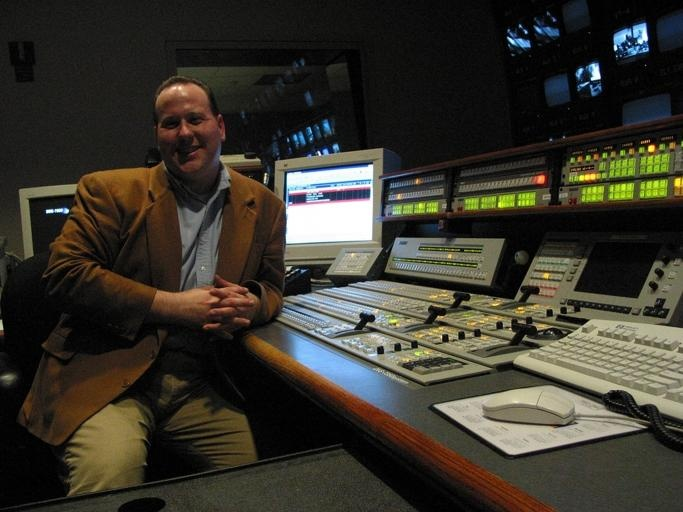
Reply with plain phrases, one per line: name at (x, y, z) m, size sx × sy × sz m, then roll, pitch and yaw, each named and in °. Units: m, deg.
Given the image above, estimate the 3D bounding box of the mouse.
mouse at (0.328, 0.254, 0.775) m, size 0.130 × 0.032 × 0.067 m, roll 1°, pitch 3°, yaw 26°

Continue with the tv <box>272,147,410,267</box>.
tv at (0.088, -0.305, 2.782) m, size 0.928 × 0.661 × 0.527 m, roll 0°, pitch 1°, yaw 42°
